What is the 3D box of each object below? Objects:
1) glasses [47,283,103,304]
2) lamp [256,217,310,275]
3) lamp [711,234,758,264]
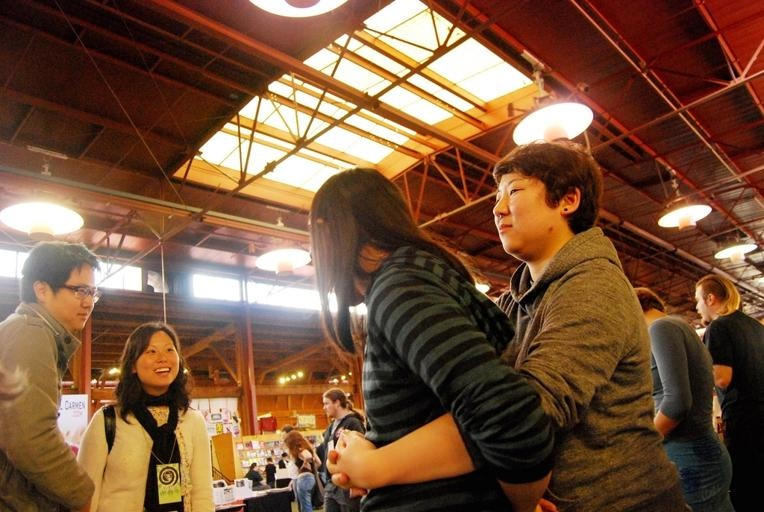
[{"bbox_3d":[-1.766,0.203,3.007,0.127,0.035,0.119,-20,-33,16],"label":"glasses"},{"bbox_3d":[-1.908,-0.248,10.071,0.887,0.914,0.855,-21,-37,22],"label":"lamp"},{"bbox_3d":[9.717,-0.226,14.324,0.996,0.602,0.941,1,-4,-12],"label":"lamp"}]
